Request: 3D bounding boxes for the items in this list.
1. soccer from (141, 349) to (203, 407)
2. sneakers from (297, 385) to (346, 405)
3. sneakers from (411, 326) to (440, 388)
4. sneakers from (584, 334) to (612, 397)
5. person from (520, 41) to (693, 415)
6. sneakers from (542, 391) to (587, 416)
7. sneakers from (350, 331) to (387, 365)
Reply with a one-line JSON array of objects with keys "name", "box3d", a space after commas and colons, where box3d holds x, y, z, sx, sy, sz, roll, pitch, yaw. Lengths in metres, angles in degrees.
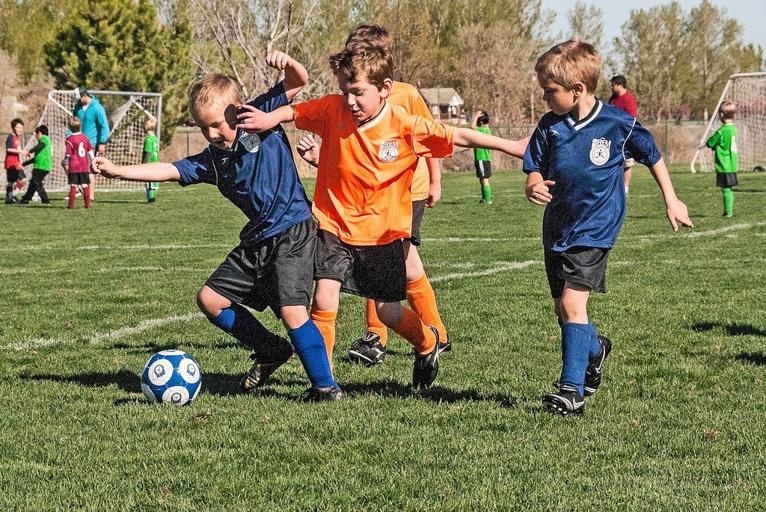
[{"name": "soccer", "box3d": [-1.578, 0.858, 6.490, 0.408, 0.421, 0.387, 4, 5, 0]}, {"name": "sneakers", "box3d": [-0.455, 1.008, 6.344, 0.114, 0.145, 0.323, -5, -11, 37]}, {"name": "sneakers", "box3d": [0.334, 0.775, 6.777, 0.158, 0.484, 0.207, 1, -11, 37]}, {"name": "sneakers", "box3d": [1.692, 0.842, 6.477, 0.169, 0.523, 0.223, 12, 1, 39]}, {"name": "person", "box3d": [1.412, -0.242, 6.273, 0.769, 2.548, 1.011, 9, 17, 35]}, {"name": "sneakers", "box3d": [1.296, 1.035, 6.104, 0.272, 0.146, 0.137, 9, 44, 7]}, {"name": "sneakers", "box3d": [-0.123, 0.782, 7.465, 0.277, 0.251, 0.500, 10, -1, 22]}]
